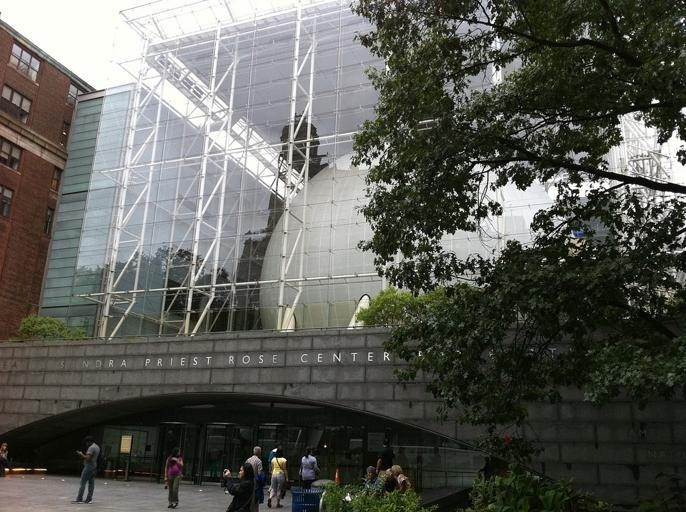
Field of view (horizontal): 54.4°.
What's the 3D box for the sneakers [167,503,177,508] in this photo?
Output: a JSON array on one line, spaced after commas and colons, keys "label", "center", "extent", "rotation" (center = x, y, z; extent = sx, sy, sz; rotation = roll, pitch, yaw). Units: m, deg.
[{"label": "sneakers", "center": [-5.622, 8.169, 21.900], "extent": [0.292, 0.154, 0.434], "rotation": [6, -18, -9]}]
